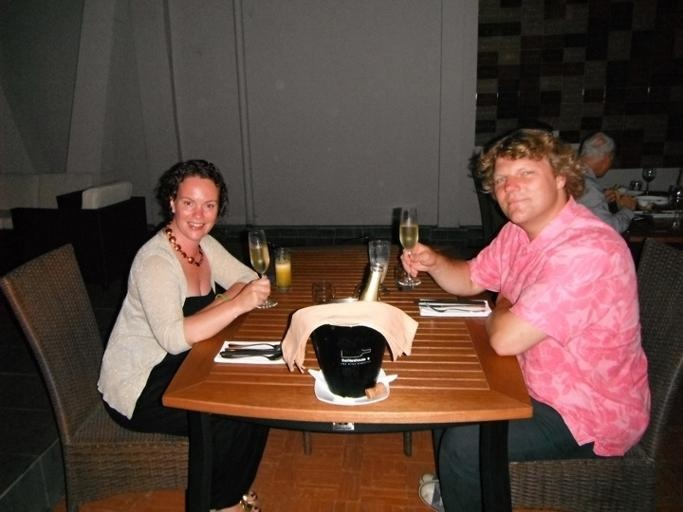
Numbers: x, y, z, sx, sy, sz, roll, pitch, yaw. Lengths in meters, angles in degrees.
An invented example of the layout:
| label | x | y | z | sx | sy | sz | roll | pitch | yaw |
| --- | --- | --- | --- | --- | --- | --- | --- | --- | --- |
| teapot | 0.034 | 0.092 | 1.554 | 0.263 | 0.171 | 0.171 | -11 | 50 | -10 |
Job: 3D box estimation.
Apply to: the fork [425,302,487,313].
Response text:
| label | x | y | z | sx | sy | sz | roll | pitch | yaw |
| --- | --- | --- | --- | --- | --- | --- | --- | --- | --- |
| fork | 0.480 | 0.211 | 2.098 | 0.260 | 0.046 | 0.038 | 0 | 2 | 10 |

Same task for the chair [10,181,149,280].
| label | x | y | z | sx | sy | sz | roll | pitch | yaw |
| --- | --- | --- | --- | --- | --- | --- | --- | --- | --- |
| chair | -2.384 | -0.283 | 4.789 | 1.070 | 0.996 | 0.918 | 8 | 20 | 5 |

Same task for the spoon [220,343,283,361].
| label | x | y | z | sx | sy | sz | roll | pitch | yaw |
| --- | --- | --- | --- | --- | --- | --- | --- | --- | --- |
| spoon | -0.315 | 0.336 | 1.802 | 0.172 | 0.025 | 0.091 | 2 | 19 | -5 |

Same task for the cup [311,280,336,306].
| label | x | y | z | sx | sy | sz | roll | pitch | yaw |
| --- | --- | --- | --- | --- | --- | --- | --- | --- | --- |
| cup | -0.084 | 0.161 | 2.108 | 0.113 | 0.108 | 0.074 | 1 | -2 | -12 |

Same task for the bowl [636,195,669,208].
| label | x | y | z | sx | sy | sz | roll | pitch | yaw |
| --- | --- | --- | --- | --- | --- | --- | --- | --- | --- |
| bowl | 2.287 | -0.406 | 3.711 | 0.154 | 0.056 | 0.113 | 0 | 12 | 16 |

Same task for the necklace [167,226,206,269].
| label | x | y | z | sx | sy | sz | roll | pitch | yaw |
| --- | --- | --- | --- | --- | --- | --- | --- | --- | --- |
| necklace | -0.660 | -0.046 | 2.136 | 0.030 | 0.160 | 0.140 | -27 | -5 | 19 |
